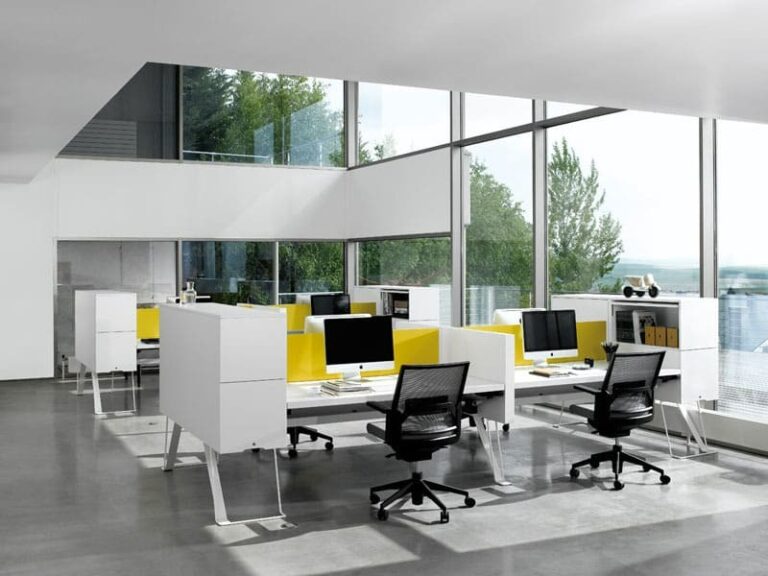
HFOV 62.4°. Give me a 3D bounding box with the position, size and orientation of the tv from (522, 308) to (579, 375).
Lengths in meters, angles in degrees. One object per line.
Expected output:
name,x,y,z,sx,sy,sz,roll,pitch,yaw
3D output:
tv,1.752,0.579,6.743,0.635,0.550,0.187,0,-3,-26
